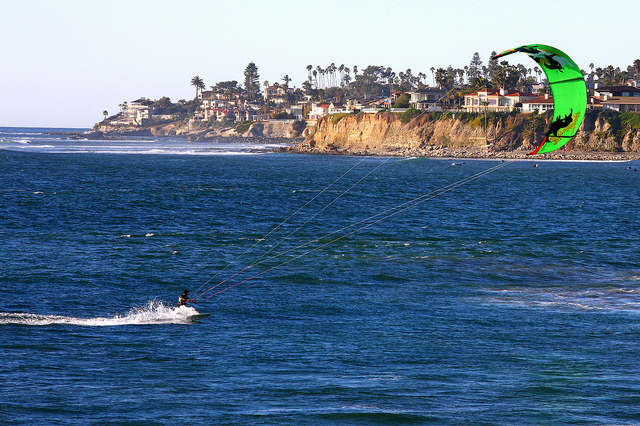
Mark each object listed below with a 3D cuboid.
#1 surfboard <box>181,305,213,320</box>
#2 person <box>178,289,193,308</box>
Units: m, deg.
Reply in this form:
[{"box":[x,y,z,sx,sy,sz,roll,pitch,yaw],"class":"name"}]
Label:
[{"box":[-8.974,7.321,97.677,2.695,0.731,0.814,6,-4,-9],"class":"surfboard"},{"box":[-9.732,6.268,97.628,0.973,1.308,1.618,-1,13,-8],"class":"person"}]
